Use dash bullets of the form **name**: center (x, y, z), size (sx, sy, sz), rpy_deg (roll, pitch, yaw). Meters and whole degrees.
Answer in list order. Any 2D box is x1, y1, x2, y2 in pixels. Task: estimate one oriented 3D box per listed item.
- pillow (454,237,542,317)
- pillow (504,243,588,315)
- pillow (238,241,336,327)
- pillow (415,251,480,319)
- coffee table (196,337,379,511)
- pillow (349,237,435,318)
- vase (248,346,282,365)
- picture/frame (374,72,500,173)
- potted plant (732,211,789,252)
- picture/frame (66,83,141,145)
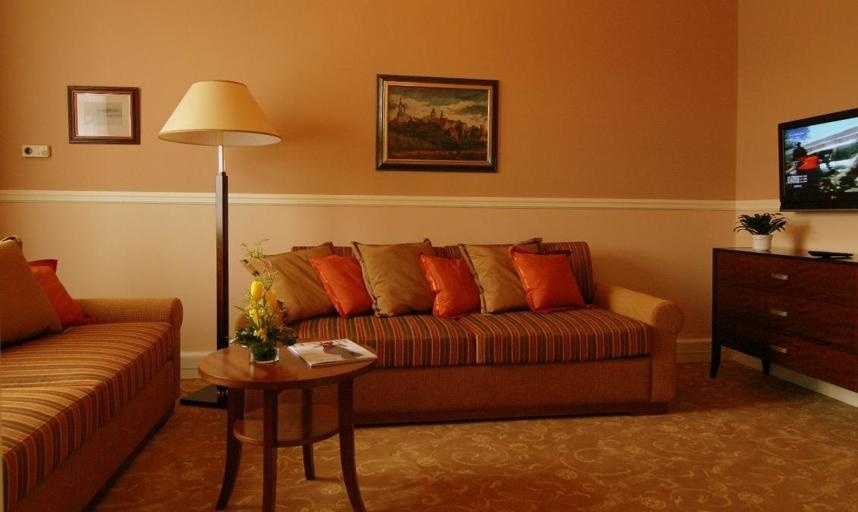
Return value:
- **pillow**: center (0.590, 0.189, 5.622), size (0.665, 0.576, 0.186), rpy_deg (-6, -16, -15)
- **pillow**: center (1.036, 0.216, 5.573), size (0.617, 0.566, 0.175), rpy_deg (-5, -23, -31)
- **pillow**: center (-1.149, 0.231, 5.357), size (0.686, 0.660, 0.162), rpy_deg (-11, -16, -42)
- **pillow**: center (0.162, 0.265, 5.555), size (0.576, 0.514, 0.166), rpy_deg (-3, -20, -31)
- **coffee table**: center (-0.929, 1.111, 4.301), size (1.130, 0.902, 1.062), rpy_deg (-1, 0, 24)
- **pillow**: center (-0.286, 0.176, 5.493), size (0.726, 0.632, 0.206), rpy_deg (-5, -18, -26)
- **vase**: center (-1.073, 0.652, 4.170), size (0.136, 0.076, 0.130), rpy_deg (0, -2, 6)
- **picture/frame**: center (0.022, -1.318, 6.049), size (1.075, 0.723, 0.041), rpy_deg (1, -2, -8)
- **potted plant**: center (3.153, -0.232, 6.055), size (0.456, 0.293, 0.431), rpy_deg (1, -5, -8)
- **picture/frame**: center (-2.995, -1.312, 5.732), size (0.626, 0.522, 0.046), rpy_deg (0, 2, -7)
